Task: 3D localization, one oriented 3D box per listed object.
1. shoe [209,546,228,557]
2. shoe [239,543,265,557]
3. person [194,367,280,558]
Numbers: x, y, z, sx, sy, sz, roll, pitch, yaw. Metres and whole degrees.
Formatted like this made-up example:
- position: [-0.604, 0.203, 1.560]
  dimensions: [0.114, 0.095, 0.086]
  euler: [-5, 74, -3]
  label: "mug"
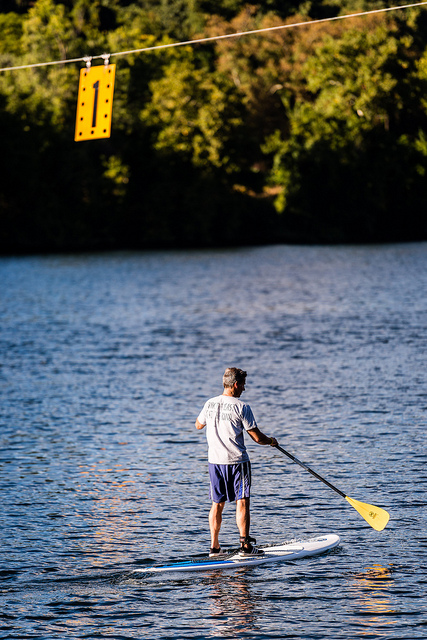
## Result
- position: [0.024, 1.890, 12.382]
  dimensions: [0.169, 0.089, 0.061]
  euler: [-2, 2, -29]
  label: "shoe"
- position: [0.301, 1.886, 12.397]
  dimensions: [0.218, 0.125, 0.081]
  euler: [-3, 4, -10]
  label: "shoe"
- position: [0.153, 1.166, 12.390]
  dimensions: [0.591, 1.530, 0.306]
  euler: [0, 6, -2]
  label: "person"
